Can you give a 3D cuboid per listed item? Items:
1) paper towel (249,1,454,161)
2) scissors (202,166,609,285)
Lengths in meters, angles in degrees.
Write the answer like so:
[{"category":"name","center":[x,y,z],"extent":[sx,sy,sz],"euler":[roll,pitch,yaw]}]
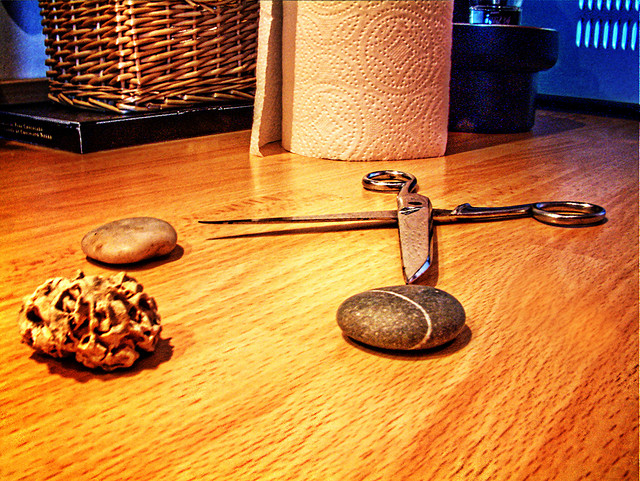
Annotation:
[{"category":"paper towel","center":[0.058,-0.224,0.709],"extent":[0.246,0.220,0.094],"euler":[4,26,11]},{"category":"scissors","center":[0.086,-0.033,0.520],"extent":[0.301,0.044,0.318],"euler":[15,22,40]}]
